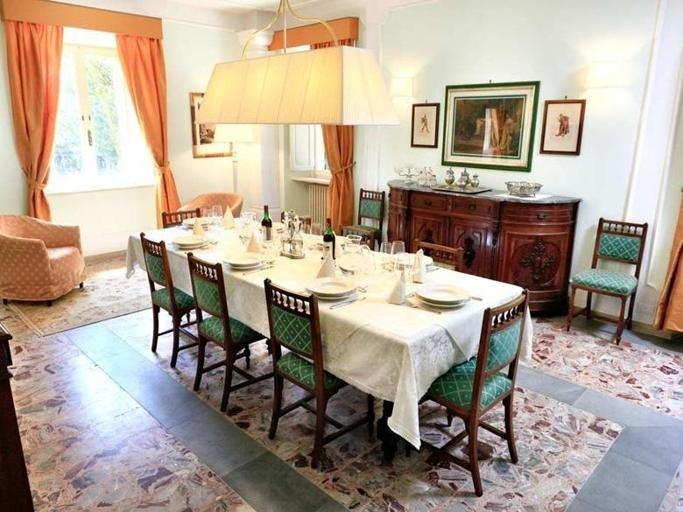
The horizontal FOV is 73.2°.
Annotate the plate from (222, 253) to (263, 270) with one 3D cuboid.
[{"bbox_3d":[-0.757,0.049,3.555,0.179,0.042,0.180,-7,21,-21],"label":"plate"}]

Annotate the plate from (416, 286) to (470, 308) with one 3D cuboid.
[{"bbox_3d":[0.667,0.259,2.980,0.188,0.036,0.191,-1,20,1],"label":"plate"}]

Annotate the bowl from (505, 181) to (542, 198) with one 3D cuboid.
[{"bbox_3d":[1.904,-0.696,4.822,0.318,0.145,0.261,2,14,13],"label":"bowl"}]

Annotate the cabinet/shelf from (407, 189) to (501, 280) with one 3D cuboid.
[{"bbox_3d":[1.210,-0.231,4.715,0.870,0.846,0.341,11,15,43],"label":"cabinet/shelf"}]

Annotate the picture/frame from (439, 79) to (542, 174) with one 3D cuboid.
[{"bbox_3d":[1.739,-1.494,5.230,1.077,0.989,0.042,15,23,40],"label":"picture/frame"}]

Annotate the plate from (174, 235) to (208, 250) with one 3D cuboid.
[{"bbox_3d":[-1.333,-0.111,4.033,0.176,0.031,0.173,-9,25,-28],"label":"plate"}]

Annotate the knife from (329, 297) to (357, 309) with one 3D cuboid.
[{"bbox_3d":[0.013,0.302,2.961,0.064,0.010,0.196,25,24,31],"label":"knife"}]

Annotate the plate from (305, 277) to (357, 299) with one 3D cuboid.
[{"bbox_3d":[-0.084,0.212,3.096,0.178,0.031,0.178,-9,25,-21],"label":"plate"}]

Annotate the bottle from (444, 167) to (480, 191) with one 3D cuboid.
[{"bbox_3d":[1.417,-0.894,5.367,0.300,0.193,0.129,12,26,38],"label":"bottle"}]

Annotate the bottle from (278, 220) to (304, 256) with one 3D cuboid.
[{"bbox_3d":[-0.442,-0.144,3.965,0.125,0.316,0.268,-14,22,-42],"label":"bottle"}]

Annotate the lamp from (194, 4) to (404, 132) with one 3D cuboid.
[{"bbox_3d":[-0.328,-1.069,2.978,1.287,0.452,0.451,7,16,31],"label":"lamp"}]

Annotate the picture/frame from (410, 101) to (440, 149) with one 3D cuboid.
[{"bbox_3d":[1.060,-1.661,5.780,0.542,0.754,0.051,9,11,39],"label":"picture/frame"}]

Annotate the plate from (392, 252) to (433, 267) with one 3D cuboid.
[{"bbox_3d":[0.470,0.027,3.388,0.163,0.029,0.165,8,17,38],"label":"plate"}]

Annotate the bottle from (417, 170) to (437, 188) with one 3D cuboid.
[{"bbox_3d":[1.055,-0.943,5.625,0.262,0.187,0.266,1,6,0],"label":"bottle"}]

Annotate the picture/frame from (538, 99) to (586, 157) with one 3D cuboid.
[{"bbox_3d":[2.311,-1.341,4.759,0.504,0.725,0.050,16,23,43],"label":"picture/frame"}]

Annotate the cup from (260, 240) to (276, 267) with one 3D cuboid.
[{"bbox_3d":[-0.620,-0.009,3.792,0.135,0.229,0.137,0,25,0],"label":"cup"}]

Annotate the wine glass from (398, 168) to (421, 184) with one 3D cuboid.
[{"bbox_3d":[0.866,-1.067,5.861,0.263,0.198,0.267,0,20,0],"label":"wine glass"}]

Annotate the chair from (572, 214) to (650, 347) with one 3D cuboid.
[{"bbox_3d":[2.620,0.212,4.553,0.598,1.130,0.609,8,17,34],"label":"chair"}]
